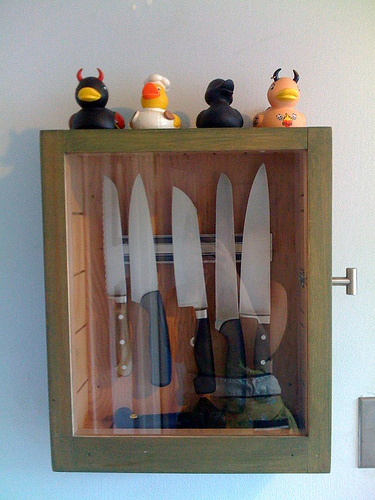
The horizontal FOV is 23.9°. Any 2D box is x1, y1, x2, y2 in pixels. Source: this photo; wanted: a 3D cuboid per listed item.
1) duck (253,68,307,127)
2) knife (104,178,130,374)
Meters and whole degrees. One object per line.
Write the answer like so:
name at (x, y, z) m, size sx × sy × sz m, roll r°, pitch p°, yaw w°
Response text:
duck at (0.169, -0.267, 1.640) m, size 0.103 × 0.149 × 0.097 m, roll 0°, pitch 1°, yaw -5°
knife at (-0.127, 0.050, 1.613) m, size 0.039 × 0.372 × 0.018 m, roll 0°, pitch -5°, yaw -19°
